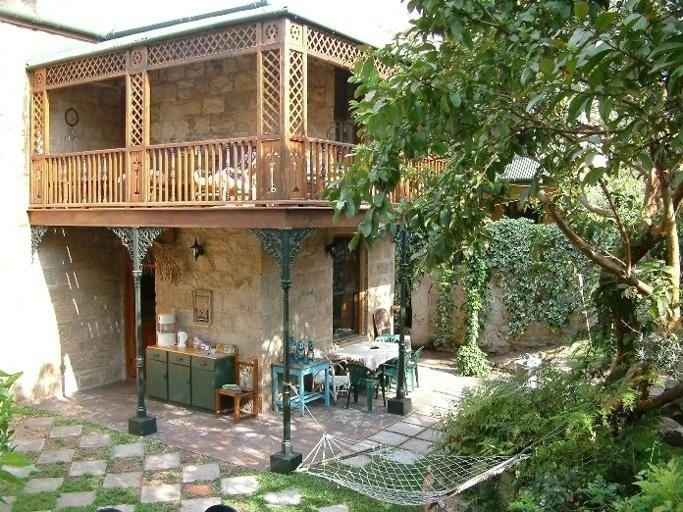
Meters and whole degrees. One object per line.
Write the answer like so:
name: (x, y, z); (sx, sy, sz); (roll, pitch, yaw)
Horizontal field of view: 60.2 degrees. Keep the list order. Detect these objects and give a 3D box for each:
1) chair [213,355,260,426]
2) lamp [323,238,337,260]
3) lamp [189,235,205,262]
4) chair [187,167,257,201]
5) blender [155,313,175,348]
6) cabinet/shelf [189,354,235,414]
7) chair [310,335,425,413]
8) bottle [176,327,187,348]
chair: (-1.808, 2.269, 10.167); (0.585, 0.973, 0.653); (4, 7, 34)
lamp: (-0.246, -0.144, 11.756); (0.287, 0.327, 0.116); (2, 5, -42)
lamp: (-2.680, -0.129, 10.834); (0.283, 0.423, 0.177); (5, 7, 37)
chair: (-1.884, -1.125, 9.116); (0.866, 0.485, 1.559); (-1, 6, -16)
blender: (-3.341, 1.357, 11.082); (0.399, 0.567, 0.435); (0, 6, -3)
cabinet/shelf: (-2.393, 2.229, 10.519); (0.703, 0.954, 0.711); (8, -4, 4)
chair: (0.649, 2.156, 11.182); (1.033, 0.700, 1.723); (-1, -1, 30)
bottle: (-3.029, 1.533, 10.963); (0.254, 0.363, 0.196); (3, -5, -22)
